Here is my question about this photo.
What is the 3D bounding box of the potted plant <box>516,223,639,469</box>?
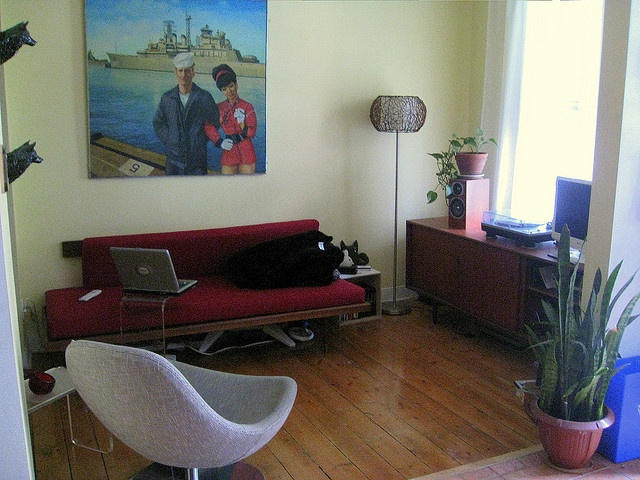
[{"bbox_3d":[1.466,0.544,2.986,0.542,1.301,0.829,8,22,24],"label":"potted plant"}]

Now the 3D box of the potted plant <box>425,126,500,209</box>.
[{"bbox_3d":[1.307,-0.761,5.063,0.511,0.605,0.478,27,46,26],"label":"potted plant"}]

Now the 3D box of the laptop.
[{"bbox_3d":[-1.120,0.183,3.569,0.535,0.328,0.522,-2,10,-14],"label":"laptop"}]

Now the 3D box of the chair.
[{"bbox_3d":[-0.682,0.848,2.529,0.612,0.645,0.697,9,14,28],"label":"chair"}]

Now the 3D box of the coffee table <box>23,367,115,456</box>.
[{"bbox_3d":[-1.309,0.904,2.740,0.294,0.355,0.530,-16,27,-36],"label":"coffee table"}]

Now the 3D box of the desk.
[{"bbox_3d":[1.489,0.329,4.722,0.715,0.910,1.949,-6,11,-12],"label":"desk"}]
